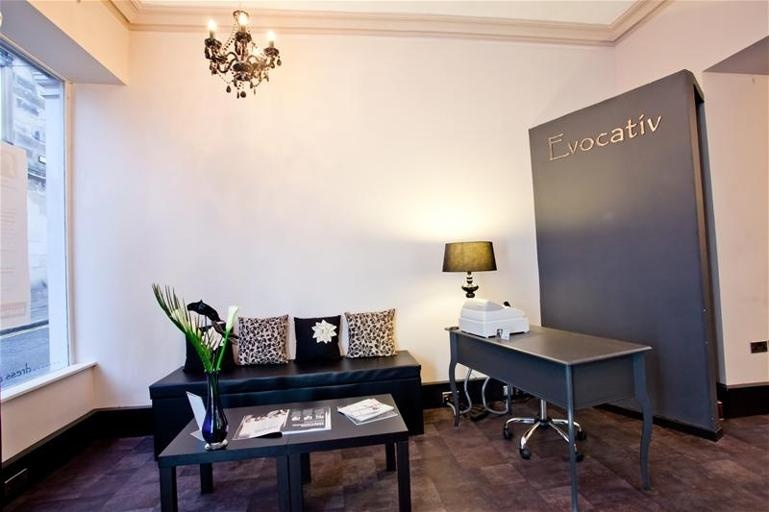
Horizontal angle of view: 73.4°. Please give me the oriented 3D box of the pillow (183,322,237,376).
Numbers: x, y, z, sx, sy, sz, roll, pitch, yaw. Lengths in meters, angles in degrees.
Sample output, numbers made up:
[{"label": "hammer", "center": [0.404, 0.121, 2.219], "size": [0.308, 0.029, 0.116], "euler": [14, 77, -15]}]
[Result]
[{"label": "pillow", "center": [-2.042, 1.118, 5.934], "size": [0.713, 0.705, 0.274], "euler": [-2, -6, -31]}]

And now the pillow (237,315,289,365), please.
[{"label": "pillow", "center": [-1.463, 1.002, 6.133], "size": [0.604, 0.574, 0.226], "euler": [1, -8, -20]}]

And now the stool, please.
[{"label": "stool", "center": [1.681, 1.850, 5.592], "size": [0.656, 0.687, 0.637], "euler": [-2, 3, -28]}]

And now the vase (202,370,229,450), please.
[{"label": "vase", "center": [-1.513, 1.351, 4.579], "size": [0.214, 0.666, 0.219], "euler": [-2, -4, -17]}]

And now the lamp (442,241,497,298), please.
[{"label": "lamp", "center": [0.979, 0.157, 6.235], "size": [0.573, 0.685, 0.557], "euler": [-2, -4, -9]}]

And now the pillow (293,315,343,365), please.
[{"label": "pillow", "center": [-0.804, 1.008, 6.189], "size": [0.600, 0.566, 0.218], "euler": [2, -1, -18]}]

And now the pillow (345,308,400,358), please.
[{"label": "pillow", "center": [-0.173, 0.952, 6.281], "size": [0.628, 0.579, 0.237], "euler": [-1, 2, -12]}]

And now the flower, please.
[{"label": "flower", "center": [-1.636, 1.061, 4.648], "size": [0.857, 1.359, 0.585], "euler": [4, -17, -35]}]

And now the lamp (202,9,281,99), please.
[{"label": "lamp", "center": [-1.360, -2.003, 5.012], "size": [0.630, 0.821, 0.615], "euler": [-3, 10, 6]}]
